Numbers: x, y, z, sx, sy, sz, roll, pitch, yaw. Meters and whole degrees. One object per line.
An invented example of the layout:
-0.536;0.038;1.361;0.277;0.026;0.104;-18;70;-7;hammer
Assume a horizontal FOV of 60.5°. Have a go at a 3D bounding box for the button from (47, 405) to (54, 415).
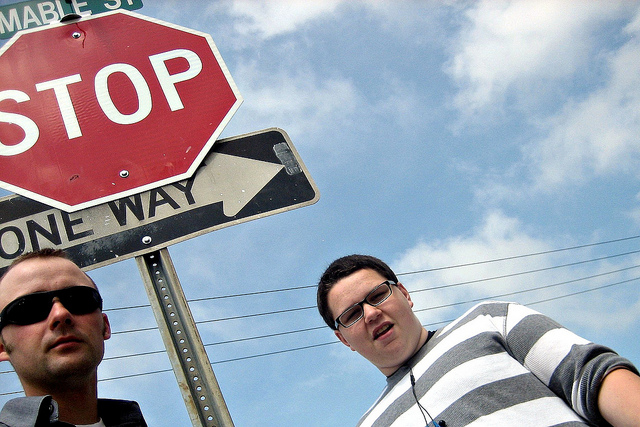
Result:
-1.569;1.134;3.182;0.034;0.051;0.020;-4;-53;-27;button
